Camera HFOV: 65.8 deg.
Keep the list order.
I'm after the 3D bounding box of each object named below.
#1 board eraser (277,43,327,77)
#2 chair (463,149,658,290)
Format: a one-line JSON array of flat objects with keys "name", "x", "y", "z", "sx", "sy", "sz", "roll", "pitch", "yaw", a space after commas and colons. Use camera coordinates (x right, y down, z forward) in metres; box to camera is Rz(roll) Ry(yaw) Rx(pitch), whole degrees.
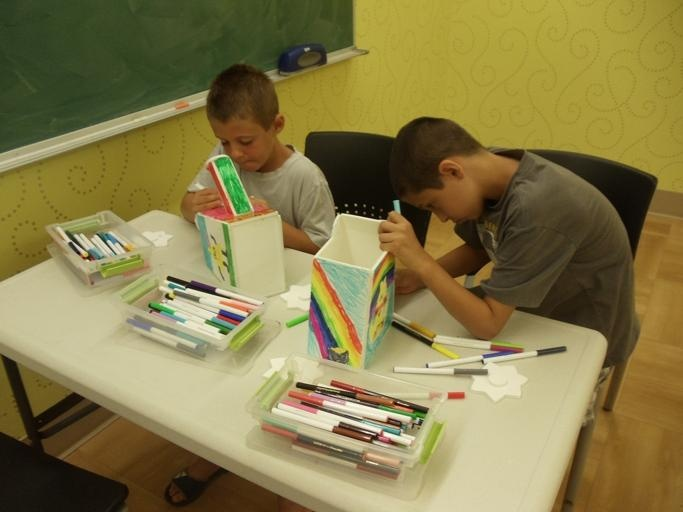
[{"name": "board eraser", "x": -0.155, "y": -0.876, "z": 2.332, "sx": 0.079, "sy": 0.098, "sz": 0.281, "roll": 15, "pitch": 34, "yaw": 31}, {"name": "chair", "x": 0.695, "y": -0.208, "z": 1.700, "sx": 0.286, "sy": 0.540, "sz": 0.347, "roll": 20, "pitch": 39, "yaw": 31}]
